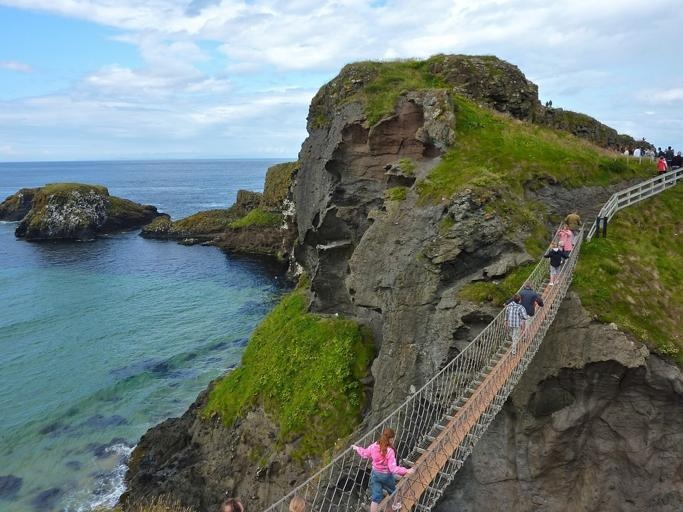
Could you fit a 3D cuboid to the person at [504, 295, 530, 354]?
[{"bbox_3d":[6.640,2.571,19.184,0.836,2.249,0.954,6,16,20],"label":"person"}]
